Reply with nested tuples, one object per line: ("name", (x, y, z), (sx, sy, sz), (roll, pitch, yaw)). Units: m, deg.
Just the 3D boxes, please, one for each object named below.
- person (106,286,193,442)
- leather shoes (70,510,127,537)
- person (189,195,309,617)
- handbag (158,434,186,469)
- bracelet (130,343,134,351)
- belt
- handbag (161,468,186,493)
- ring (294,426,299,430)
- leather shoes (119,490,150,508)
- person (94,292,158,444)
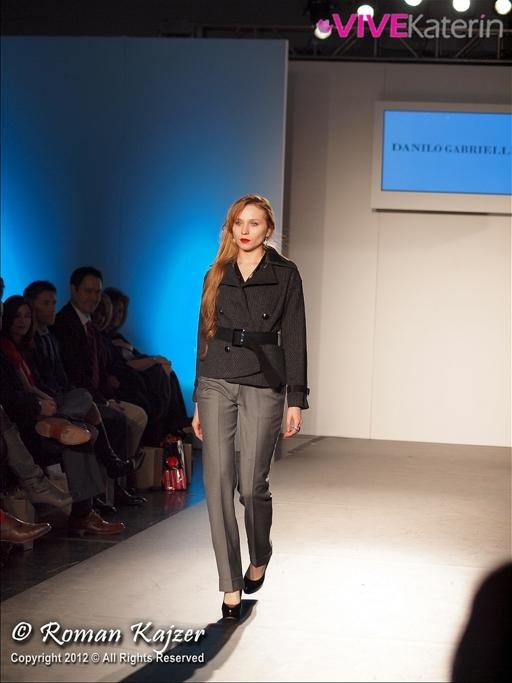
("person", (-0.773, 0.121, 3.278), (0.424, 0.926, 0.332), (-3, 19, 4))
("leather shoes", (-0.817, 0.927, 2.696), (0.274, 0.144, 0.105), (0, -3, -16))
("person", (-0.024, 0.215, 1.849), (0.418, 1.463, 0.292), (0, -2, 1))
("handbag", (-0.546, 0.736, 3.445), (0.191, 0.296, 0.154), (5, -24, -19))
("bracelet", (-0.765, 0.035, 3.188), (0.026, 0.054, 0.028), (-2, 11, -4))
("belt", (-0.022, 0.051, 1.758), (0.233, 0.202, 0.104), (0, -2, -6))
("handbag", (-0.531, 0.902, 3.351), (0.148, 0.168, 0.133), (-1, -17, -2))
("ring", (0.139, 0.301, 1.781), (0.009, 0.015, 0.014), (15, 36, 40))
("leather shoes", (-0.717, 0.926, 3.028), (0.176, 0.083, 0.063), (7, 4, 20))
("person", (-0.867, 0.240, 3.135), (0.326, 1.160, 0.292), (-5, -8, -39))
